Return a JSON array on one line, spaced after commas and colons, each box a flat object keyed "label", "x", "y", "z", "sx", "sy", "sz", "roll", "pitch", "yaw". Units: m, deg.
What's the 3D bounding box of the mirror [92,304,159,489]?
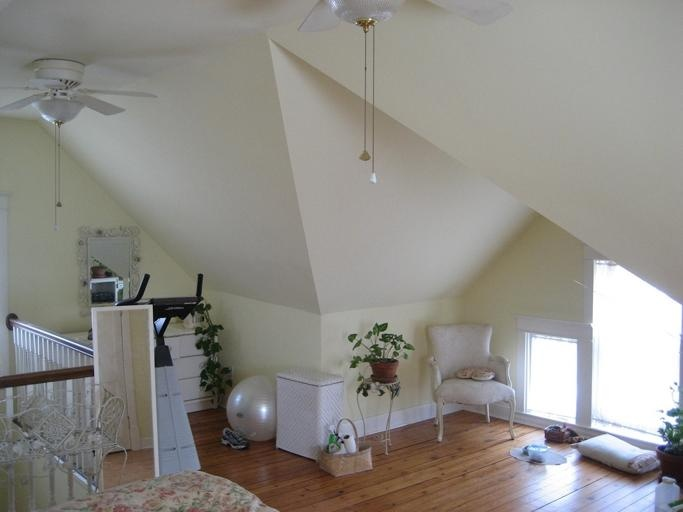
[{"label": "mirror", "x": -1.409, "y": 0.881, "z": 3.776, "sx": 0.436, "sy": 1.116, "sz": 0.155, "roll": 1, "pitch": 6, "yaw": 4}]

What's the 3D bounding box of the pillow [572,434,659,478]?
[{"label": "pillow", "x": 2.383, "y": 1.720, "z": 4.941, "sx": 0.353, "sy": 0.152, "sz": 0.646, "roll": -5, "pitch": 8, "yaw": -44}]

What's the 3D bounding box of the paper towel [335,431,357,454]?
[{"label": "paper towel", "x": 0.044, "y": 1.588, "z": 4.860, "sx": 0.127, "sy": 0.258, "sz": 0.135, "roll": 3, "pitch": -6, "yaw": -34}]

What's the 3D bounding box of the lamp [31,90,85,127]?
[{"label": "lamp", "x": -1.840, "y": -0.952, "z": 3.738, "sx": 0.188, "sy": 0.086, "sz": 0.201, "roll": -1, "pitch": -5, "yaw": -5}]

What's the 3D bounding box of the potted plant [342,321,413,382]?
[{"label": "potted plant", "x": 0.364, "y": 0.847, "z": 5.471, "sx": 0.539, "sy": 0.426, "sz": 0.543, "roll": 0, "pitch": 0, "yaw": -36}]

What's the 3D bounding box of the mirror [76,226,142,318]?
[{"label": "mirror", "x": -2.590, "y": 0.155, "z": 6.374, "sx": 0.653, "sy": 0.983, "sz": 0.200, "roll": -1, "pitch": 6, "yaw": -18}]

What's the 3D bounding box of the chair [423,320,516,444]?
[{"label": "chair", "x": 1.241, "y": 1.226, "z": 5.628, "sx": 0.701, "sy": 1.084, "sz": 0.896, "roll": -2, "pitch": -6, "yaw": 0}]

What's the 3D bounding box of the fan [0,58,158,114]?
[{"label": "fan", "x": -1.791, "y": -1.108, "z": 3.708, "sx": 0.726, "sy": 0.348, "sz": 0.493, "roll": 0, "pitch": 6, "yaw": -7}]

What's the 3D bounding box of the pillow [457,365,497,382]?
[{"label": "pillow", "x": 1.324, "y": 1.170, "z": 5.566, "sx": 0.379, "sy": 0.097, "sz": 0.249, "roll": 2, "pitch": 6, "yaw": 3}]

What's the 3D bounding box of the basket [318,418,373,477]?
[{"label": "basket", "x": 0.056, "y": 1.606, "z": 4.832, "sx": 0.484, "sy": 0.369, "sz": 0.376, "roll": 0, "pitch": 6, "yaw": -12}]

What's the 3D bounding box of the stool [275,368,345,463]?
[{"label": "stool", "x": -0.307, "y": 1.410, "z": 5.182, "sx": 0.534, "sy": 0.705, "sz": 0.340, "roll": 2, "pitch": 2, "yaw": 38}]

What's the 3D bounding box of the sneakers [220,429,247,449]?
[{"label": "sneakers", "x": -0.992, "y": 1.702, "z": 5.283, "sx": 0.261, "sy": 0.130, "sz": 0.116, "roll": 8, "pitch": 7, "yaw": 33}]

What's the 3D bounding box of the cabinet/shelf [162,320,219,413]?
[{"label": "cabinet/shelf", "x": -1.604, "y": 1.229, "z": 6.360, "sx": 0.508, "sy": 0.857, "sz": 0.433, "roll": -9, "pitch": 10, "yaw": 20}]
